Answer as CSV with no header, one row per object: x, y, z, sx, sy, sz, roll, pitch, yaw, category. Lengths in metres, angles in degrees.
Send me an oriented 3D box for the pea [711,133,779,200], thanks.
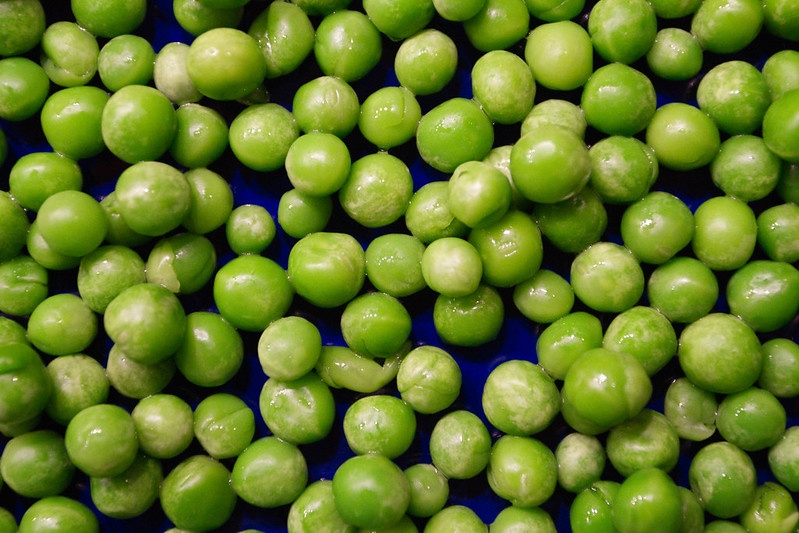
1.006,-0.267,2.427,0.156,0.139,0.198,10,94,12,pea

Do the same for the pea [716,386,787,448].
1.005,0.444,2.450,0.162,0.168,0.177,22,84,-4,pea
